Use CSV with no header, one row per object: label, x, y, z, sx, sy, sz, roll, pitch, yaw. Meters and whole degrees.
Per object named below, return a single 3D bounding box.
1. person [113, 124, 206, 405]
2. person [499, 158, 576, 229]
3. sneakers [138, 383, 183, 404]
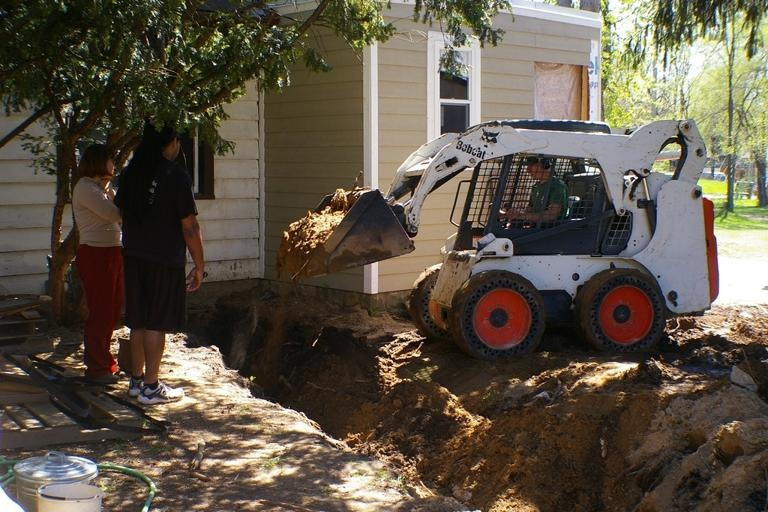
person,-2.303,0.105,6.751,0.897,2.784,0.490,12,10,29
person,2.052,-0.903,9.196,1.118,1.132,0.735,3,-3,-20
sneakers,-2.330,1.414,6.914,0.460,0.208,0.187,-1,4,-28
